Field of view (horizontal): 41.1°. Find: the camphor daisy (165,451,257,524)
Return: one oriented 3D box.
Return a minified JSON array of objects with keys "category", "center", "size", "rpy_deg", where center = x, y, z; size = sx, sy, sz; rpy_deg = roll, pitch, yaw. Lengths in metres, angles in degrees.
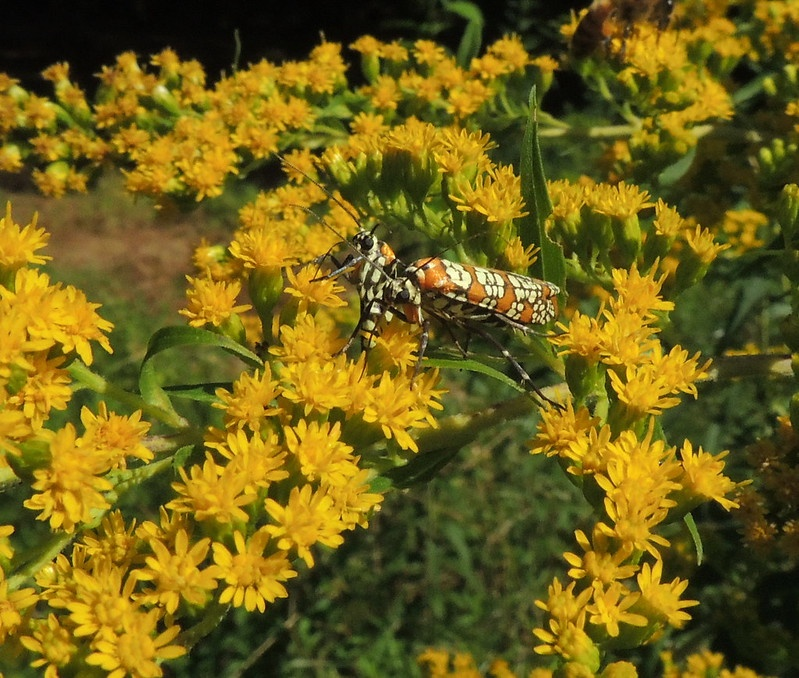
[{"category":"camphor daisy","center":[-0.700,0.581,4.018],"size":[0.315,0.182,0.215],"rpy_deg":[18,57,7]}]

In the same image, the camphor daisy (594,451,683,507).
[{"category":"camphor daisy","center":[0.935,0.501,4.172],"size":[0.376,0.405,0.182],"rpy_deg":[-1,102,4]}]

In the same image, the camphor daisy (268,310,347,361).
[{"category":"camphor daisy","center":[-0.381,0.001,4.273],"size":[0.228,0.104,0.214],"rpy_deg":[-4,48,-4]}]

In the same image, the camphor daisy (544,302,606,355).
[{"category":"camphor daisy","center":[0.710,-0.034,4.322],"size":[0.186,0.112,0.189],"rpy_deg":[20,67,44]}]

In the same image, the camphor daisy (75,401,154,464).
[{"category":"camphor daisy","center":[-1.092,0.371,4.102],"size":[0.250,0.260,0.116],"rpy_deg":[34,96,46]}]

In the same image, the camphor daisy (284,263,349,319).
[{"category":"camphor daisy","center":[-0.379,-0.238,4.488],"size":[0.259,0.300,0.159],"rpy_deg":[4,94,-28]}]

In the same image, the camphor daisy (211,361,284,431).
[{"category":"camphor daisy","center":[-0.603,0.238,4.234],"size":[0.255,0.254,0.144],"rpy_deg":[-29,73,-11]}]

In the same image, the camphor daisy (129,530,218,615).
[{"category":"camphor daisy","center":[-0.834,0.884,3.964],"size":[0.324,0.161,0.320],"rpy_deg":[9,85,10]}]

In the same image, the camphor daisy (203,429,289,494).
[{"category":"camphor daisy","center":[-0.564,0.473,4.108],"size":[0.333,0.163,0.289],"rpy_deg":[15,77,56]}]

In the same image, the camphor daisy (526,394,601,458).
[{"category":"camphor daisy","center":[0.685,0.323,4.272],"size":[0.226,0.256,0.120],"rpy_deg":[-9,86,37]}]

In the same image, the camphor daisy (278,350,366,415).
[{"category":"camphor daisy","center":[-0.351,0.172,4.208],"size":[0.290,0.123,0.286],"rpy_deg":[30,30,29]}]

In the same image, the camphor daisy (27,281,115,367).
[{"category":"camphor daisy","center":[-1.256,-0.044,4.124],"size":[0.317,0.153,0.303],"rpy_deg":[17,48,-42]}]

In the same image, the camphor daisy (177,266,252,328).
[{"category":"camphor daisy","center":[-0.784,-0.134,4.567],"size":[0.260,0.144,0.242],"rpy_deg":[-30,60,-21]}]

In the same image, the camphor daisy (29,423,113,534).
[{"category":"camphor daisy","center":[-1.236,0.541,3.997],"size":[0.152,0.390,0.376],"rpy_deg":[31,98,31]}]

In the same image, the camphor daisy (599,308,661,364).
[{"category":"camphor daisy","center":[0.894,-0.022,4.325],"size":[0.219,0.213,0.119],"rpy_deg":[-12,92,16]}]

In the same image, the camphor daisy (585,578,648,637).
[{"category":"camphor daisy","center":[0.803,1.016,4.012],"size":[0.222,0.078,0.214],"rpy_deg":[-5,77,-11]}]

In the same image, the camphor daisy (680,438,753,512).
[{"category":"camphor daisy","center":[1.202,0.546,4.172],"size":[0.233,0.220,0.279],"rpy_deg":[-8,58,-9]}]

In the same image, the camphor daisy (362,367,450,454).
[{"category":"camphor daisy","center":[0.033,0.246,4.237],"size":[0.286,0.154,0.335],"rpy_deg":[29,59,14]}]

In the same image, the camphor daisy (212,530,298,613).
[{"category":"camphor daisy","center":[-0.570,0.899,4.111],"size":[0.315,0.128,0.304],"rpy_deg":[-4,72,-10]}]
